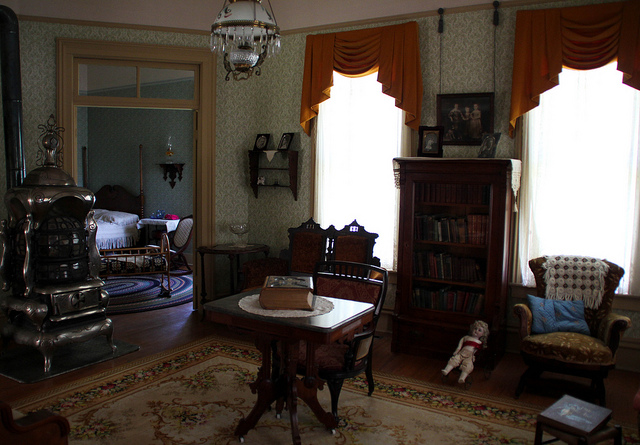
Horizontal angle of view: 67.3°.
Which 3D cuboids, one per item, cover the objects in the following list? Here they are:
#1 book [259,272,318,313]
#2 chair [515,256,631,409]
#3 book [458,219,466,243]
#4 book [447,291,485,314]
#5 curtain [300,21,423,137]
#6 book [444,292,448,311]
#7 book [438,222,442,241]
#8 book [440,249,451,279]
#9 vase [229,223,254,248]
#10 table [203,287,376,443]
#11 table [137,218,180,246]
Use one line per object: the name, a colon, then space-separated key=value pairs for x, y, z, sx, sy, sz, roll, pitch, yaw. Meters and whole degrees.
book: x=-0.240 y=0.544 z=3.702 sx=0.438 sy=0.187 sz=0.331 roll=1 pitch=10 yaw=2
chair: x=2.440 y=1.026 z=4.706 sx=0.987 sy=1.263 sz=0.889 roll=5 pitch=10 yaw=23
book: x=1.572 y=0.082 z=5.295 sx=0.088 sy=0.237 sz=0.249 roll=0 pitch=1 yaw=14
book: x=1.596 y=0.861 z=5.287 sx=0.290 sy=0.099 sz=0.229 roll=4 pitch=6 yaw=21
curtain: x=0.488 y=-1.783 z=5.879 sx=1.544 sy=1.217 sz=0.165 roll=5 pitch=10 yaw=24
book: x=1.411 y=0.876 z=5.365 sx=0.033 sy=0.149 sz=0.140 roll=1 pitch=-1 yaw=14
book: x=1.350 y=0.099 z=5.399 sx=0.033 sy=0.150 sz=0.148 roll=2 pitch=-2 yaw=10
book: x=1.409 y=0.480 z=5.391 sx=0.164 sy=0.277 sz=0.290 roll=-1 pitch=0 yaw=23
vase: x=-1.096 y=0.175 z=6.672 sx=0.339 sy=0.336 sz=0.314 roll=-1 pitch=-2 yaw=0
table: x=-0.249 y=0.964 z=4.035 sx=1.410 sy=1.357 sz=1.183 roll=3 pitch=4 yaw=34
table: x=-3.369 y=0.216 z=9.882 sx=0.850 sy=0.490 sz=0.844 roll=-10 pitch=4 yaw=-33
